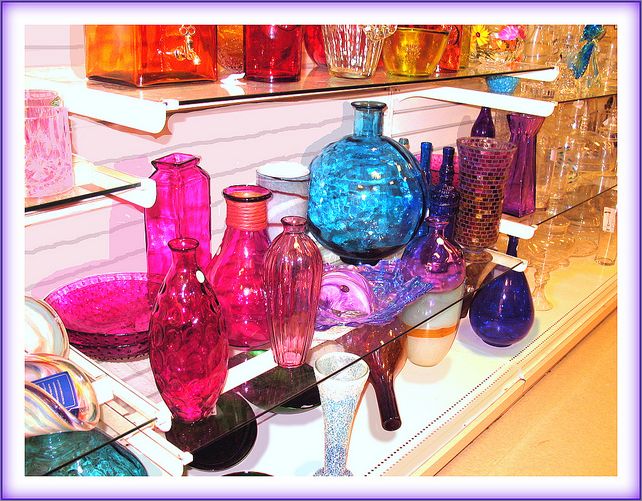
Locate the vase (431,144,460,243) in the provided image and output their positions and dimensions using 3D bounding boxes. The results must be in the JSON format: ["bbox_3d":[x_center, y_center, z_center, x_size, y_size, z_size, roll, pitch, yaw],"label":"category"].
[{"bbox_3d":[0.337,-0.129,1.281,0.095,0.306,0.088,5,27,18],"label":"vase"}]

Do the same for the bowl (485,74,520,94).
[{"bbox_3d":[0.539,-0.504,1.414,0.079,0.035,0.079,-2,34,2],"label":"bowl"}]

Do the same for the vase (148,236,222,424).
[{"bbox_3d":[-0.204,0.137,0.720,0.105,0.271,0.074,-8,27,-18],"label":"vase"}]

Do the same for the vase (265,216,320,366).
[{"bbox_3d":[-0.049,0.082,0.830,0.097,0.278,0.056,-1,25,-3],"label":"vase"}]

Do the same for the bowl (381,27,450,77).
[{"bbox_3d":[0.218,-0.459,1.072,0.120,0.074,0.115,1,28,0],"label":"bowl"}]

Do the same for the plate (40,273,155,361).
[{"bbox_3d":[-0.391,0.121,0.863,0.173,0.058,0.165,1,29,-11],"label":"plate"}]
